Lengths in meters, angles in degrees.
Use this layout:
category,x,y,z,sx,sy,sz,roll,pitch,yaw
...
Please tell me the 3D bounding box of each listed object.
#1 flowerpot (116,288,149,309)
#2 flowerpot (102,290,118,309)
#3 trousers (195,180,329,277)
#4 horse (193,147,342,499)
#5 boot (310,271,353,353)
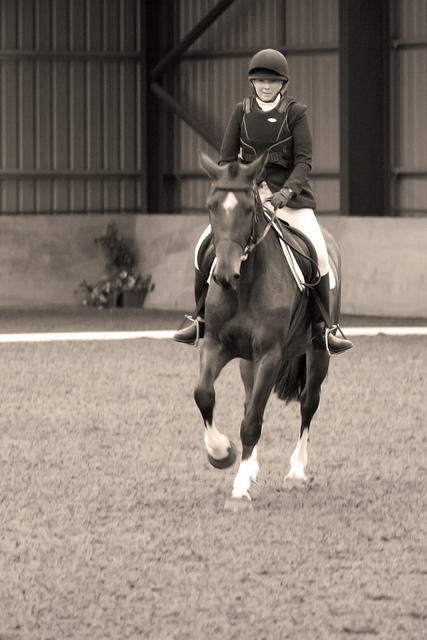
category,x,y,z,sx,sy,sz,roll,pitch,yaw
flowerpot,-1.014,-0.274,17.990,0.346,0.253,0.174,-2,7,-8
flowerpot,-1.235,-0.252,17.895,0.234,0.211,0.140,-7,9,-40
trousers,0.401,-0.551,8.685,0.484,0.782,0.507,7,18,29
horse,0.277,-0.025,8.465,0.572,1.914,1.628,1,7,14
boot,0.675,-0.100,8.791,0.204,0.657,0.112,-1,-20,2
